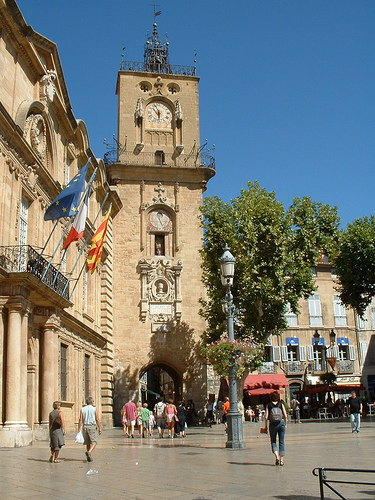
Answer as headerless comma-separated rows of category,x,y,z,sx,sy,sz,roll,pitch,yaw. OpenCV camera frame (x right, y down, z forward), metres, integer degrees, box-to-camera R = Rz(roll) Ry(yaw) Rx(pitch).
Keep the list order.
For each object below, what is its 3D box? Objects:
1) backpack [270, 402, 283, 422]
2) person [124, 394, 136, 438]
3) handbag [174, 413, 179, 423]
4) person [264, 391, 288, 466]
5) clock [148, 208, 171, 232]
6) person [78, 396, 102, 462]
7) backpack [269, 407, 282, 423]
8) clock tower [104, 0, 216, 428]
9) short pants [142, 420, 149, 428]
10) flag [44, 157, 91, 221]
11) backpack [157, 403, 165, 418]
backpack,1.629,3.059,12.505,0.219,0.381,0.209,-1,-44,5
person,-2.242,6.447,25.666,0.414,1.482,1.222,0,-15,-5
handbag,-0.452,6.251,24.831,0.145,0.320,0.293,1,-15,-8
person,1.645,3.324,12.505,0.392,1.324,0.910,-1,-15,-3
clock,-1.781,-1.781,40.719,1.407,1.264,0.187,4,-24,-27
person,-2.076,3.778,14.167,0.441,1.336,1.404,1,-16,-9
backpack,1.610,3.094,12.565,0.247,0.364,0.198,-3,-18,1
clock tower,-1.791,-1.754,40.541,5.269,24.040,4.634,-1,-15,-3
short pants,-1.654,6.727,25.994,0.254,0.261,0.480,-2,-47,-7
flag,-4.114,-2.021,22.783,1.290,1.967,1.064,2,-15,-12
backpack,-1.076,6.387,26.431,0.357,0.532,0.291,2,-28,-2
